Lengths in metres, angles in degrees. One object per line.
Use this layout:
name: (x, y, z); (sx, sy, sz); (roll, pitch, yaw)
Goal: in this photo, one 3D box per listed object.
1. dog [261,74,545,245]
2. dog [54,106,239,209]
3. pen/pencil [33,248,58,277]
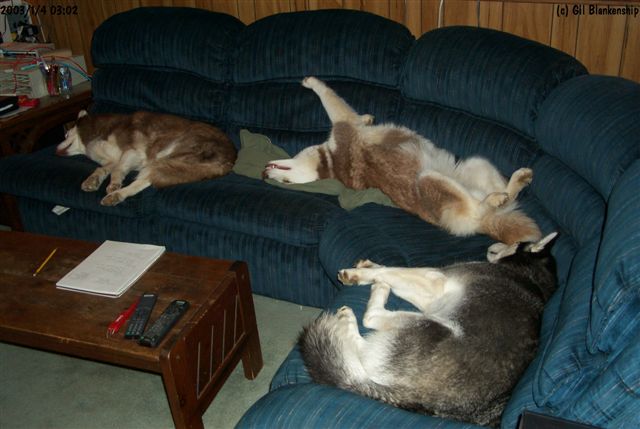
dog: (0.459, -0.274, 3.058); (1.739, 0.449, 0.608); (23, 52, 25)
dog: (-1.174, -0.381, 3.404); (0.935, 0.353, 0.629); (0, 24, 6)
pen/pencil: (-1.390, 0.239, 2.642); (0.021, 0.016, 0.201); (22, 39, 8)
